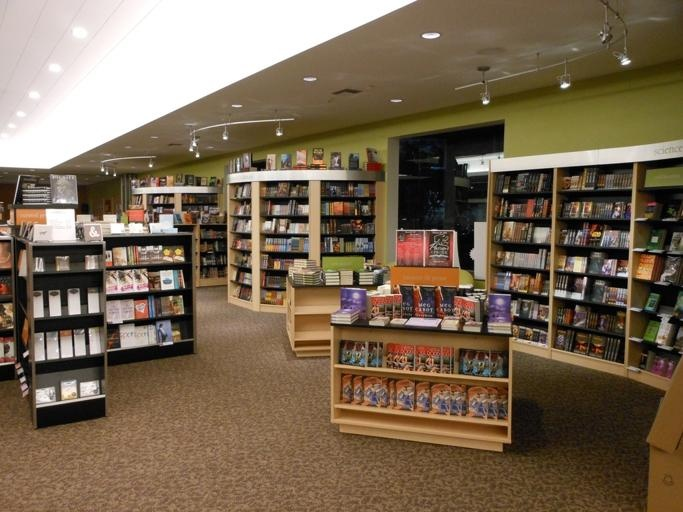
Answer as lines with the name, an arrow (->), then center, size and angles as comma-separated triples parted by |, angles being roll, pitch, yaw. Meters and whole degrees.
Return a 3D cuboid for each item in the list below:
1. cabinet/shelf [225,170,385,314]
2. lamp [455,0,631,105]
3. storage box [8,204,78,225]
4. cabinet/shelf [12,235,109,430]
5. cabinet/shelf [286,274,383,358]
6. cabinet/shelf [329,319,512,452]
cabinet/shelf -> -1.313, -0.653, 11.942 | 3.431, 2.704, 0.944 | 1, 1, 18
lamp -> 3.198, -3.020, 7.506 | 1.538, 0.573, 3.182 | -4, 11, -21
storage box -> -3.894, -0.536, 6.529 | 0.564, 0.173, 0.524 | -1, 1, -42
cabinet/shelf -> -3.442, 0.917, 6.289 | 0.968, 2.250, 0.686 | -5, 12, -22
cabinet/shelf -> -0.239, 1.073, 8.981 | 1.701, 1.546, 1.222 | 1, 1, -18
cabinet/shelf -> 0.934, 1.326, 5.810 | 2.020, 1.134, 0.724 | 1, -2, 19
